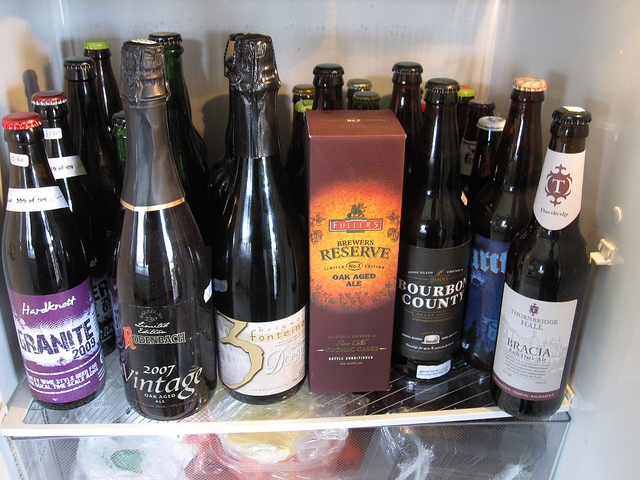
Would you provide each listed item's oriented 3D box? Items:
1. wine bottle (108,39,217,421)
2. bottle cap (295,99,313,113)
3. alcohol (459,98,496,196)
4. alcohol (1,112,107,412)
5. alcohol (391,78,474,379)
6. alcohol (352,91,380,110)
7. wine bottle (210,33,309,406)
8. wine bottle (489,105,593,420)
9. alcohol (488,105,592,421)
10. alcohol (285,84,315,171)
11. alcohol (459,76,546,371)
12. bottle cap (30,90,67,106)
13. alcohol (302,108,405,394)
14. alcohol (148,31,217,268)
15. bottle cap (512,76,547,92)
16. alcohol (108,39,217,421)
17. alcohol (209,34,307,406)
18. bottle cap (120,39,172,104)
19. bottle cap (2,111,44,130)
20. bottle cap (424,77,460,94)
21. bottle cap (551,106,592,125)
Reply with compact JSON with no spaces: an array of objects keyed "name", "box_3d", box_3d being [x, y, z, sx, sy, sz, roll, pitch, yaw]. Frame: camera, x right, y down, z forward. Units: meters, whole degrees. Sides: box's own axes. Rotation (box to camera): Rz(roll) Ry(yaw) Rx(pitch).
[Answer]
[{"name":"wine bottle","box_3d":[-0.232,0.022,0.833,0.154,0.626,0.154,6,26,-3]},{"name":"bottle cap","box_3d":[-0.030,-0.252,0.967,0.040,0.012,0.047,-2,38,-3]},{"name":"alcohol","box_3d":[0.284,-0.191,0.995,0.060,0.243,0.063,-3,28,-2]},{"name":"alcohol","box_3d":[-0.439,0.051,0.814,0.126,0.487,0.089,-12,24,-24]},{"name":"alcohol","box_3d":[0.199,-0.009,0.909,0.133,0.515,0.150,1,22,3]},{"name":"alcohol","box_3d":[0.086,-0.261,0.964,0.042,0.043,0.043,15,41,15]},{"name":"wine bottle","box_3d":[-0.105,-0.018,0.874,0.153,0.588,0.170,-10,21,-29]},{"name":"wine bottle","box_3d":[0.375,0.051,0.844,0.123,0.519,0.136,15,30,35]},{"name":"alcohol","box_3d":[0.351,0.062,0.867,0.145,0.530,0.139,15,30,28]},{"name":"alcohol","box_3d":[-0.036,-0.226,1.062,0.042,0.177,0.056,-3,32,2]},{"name":"alcohol","box_3d":[0.306,-0.014,0.946,0.126,0.535,0.122,-4,23,-17]},{"name":"bottle cap","box_3d":[-0.442,-0.233,0.840,0.048,0.019,0.050,2,22,10]},{"name":"alcohol","box_3d":[0.050,0.032,0.894,0.160,0.488,0.136,-3,22,-2]},{"name":"alcohol","box_3d":[-0.296,-0.156,1.060,0.128,0.502,0.129,-6,26,-15]},{"name":"bottle cap","box_3d":[0.332,-0.250,0.823,0.043,0.019,0.052,-6,22,-10]},{"name":"alcohol","box_3d":[-0.235,0.007,0.850,0.180,0.622,0.163,-4,25,-10]},{"name":"alcohol","box_3d":[-0.110,-0.023,0.867,0.174,0.591,0.167,-6,26,-14]},{"name":"bottle cap","box_3d":[-0.245,-0.233,0.713,0.075,0.076,0.070,3,25,-3]},{"name":"bottle cap","box_3d":[-0.432,-0.172,0.740,0.048,0.021,0.028,-7,22,-11]},{"name":"bottle cap","box_3d":[0.190,-0.237,0.796,0.048,0.016,0.036,0,22,6]},{"name":"bottle cap","box_3d":[0.367,-0.183,0.739,0.037,0.010,0.037,9,38,12]}]
